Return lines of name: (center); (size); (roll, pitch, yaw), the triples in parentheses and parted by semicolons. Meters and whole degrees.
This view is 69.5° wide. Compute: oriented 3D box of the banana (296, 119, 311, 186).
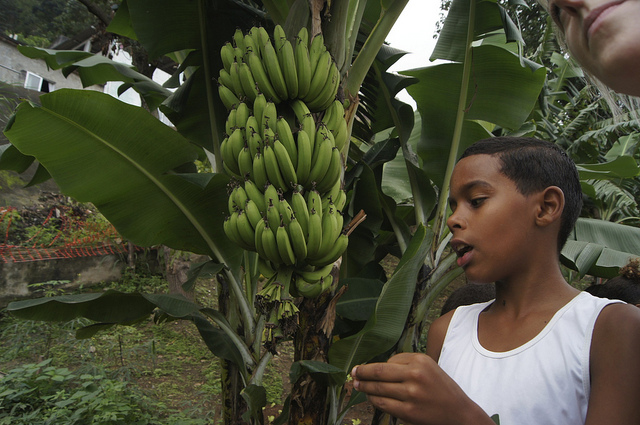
banana: (-0.140, -0.406, 2.986); (0.084, 0.369, 0.150); (-3, 2, -18)

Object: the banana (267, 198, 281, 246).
banana: (-0.293, 0.043, 2.908); (0.067, 0.235, 0.091); (-8, 5, 20)

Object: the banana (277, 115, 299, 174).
banana: (-0.153, -0.438, 3.026); (0.100, 0.377, 0.137); (-15, 0, 27)

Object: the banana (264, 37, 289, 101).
banana: (-0.242, -0.926, 3.070); (0.102, 0.441, 0.168); (-19, 3, 5)

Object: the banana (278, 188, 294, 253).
banana: (-0.216, 0.014, 2.903); (0.059, 0.329, 0.061); (-15, -10, 10)

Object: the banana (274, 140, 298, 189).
banana: (-0.225, -0.312, 2.966); (0.111, 0.316, 0.078); (-12, 21, 45)
